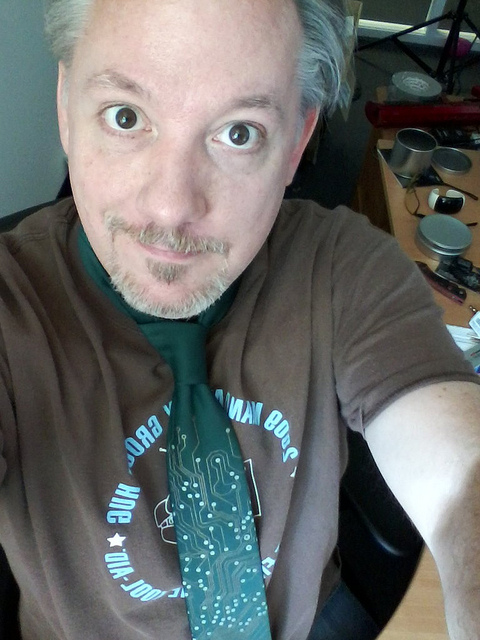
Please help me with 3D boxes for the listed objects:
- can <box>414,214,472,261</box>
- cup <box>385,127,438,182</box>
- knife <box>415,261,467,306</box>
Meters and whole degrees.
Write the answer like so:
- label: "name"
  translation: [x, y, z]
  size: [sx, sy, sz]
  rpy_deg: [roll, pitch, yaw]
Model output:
- label: "can"
  translation: [0.571, -0.230, 1.762]
  size: [0.146, 0.079, 0.154]
  rpy_deg: [2, 38, -1]
- label: "cup"
  translation: [0.552, -0.536, 1.996]
  size: [0.144, 0.102, 0.134]
  rpy_deg: [3, 50, -4]
- label: "knife"
  translation: [0.529, -0.094, 1.713]
  size: [0.096, 0.025, 0.172]
  rpy_deg: [-29, 62, -24]
